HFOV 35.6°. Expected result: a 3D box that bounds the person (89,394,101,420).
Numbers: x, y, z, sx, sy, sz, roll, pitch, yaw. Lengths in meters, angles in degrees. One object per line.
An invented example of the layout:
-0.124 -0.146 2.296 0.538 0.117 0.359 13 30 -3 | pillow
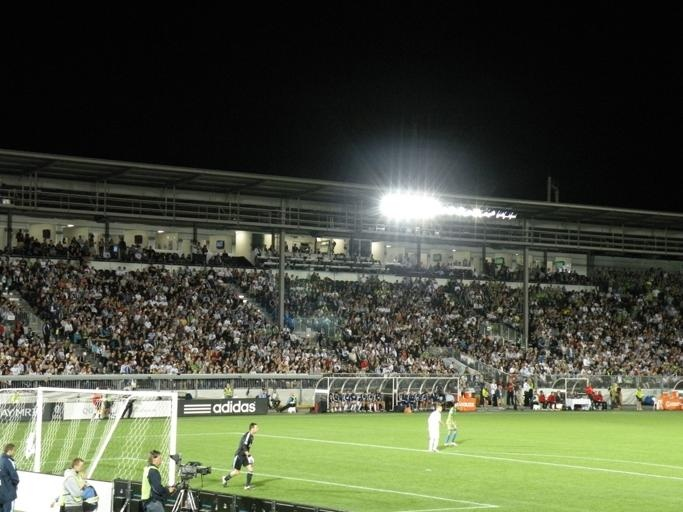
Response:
-9.933 6.069 42.924 0.399 0.816 3.773 3 -13 -12 | person
